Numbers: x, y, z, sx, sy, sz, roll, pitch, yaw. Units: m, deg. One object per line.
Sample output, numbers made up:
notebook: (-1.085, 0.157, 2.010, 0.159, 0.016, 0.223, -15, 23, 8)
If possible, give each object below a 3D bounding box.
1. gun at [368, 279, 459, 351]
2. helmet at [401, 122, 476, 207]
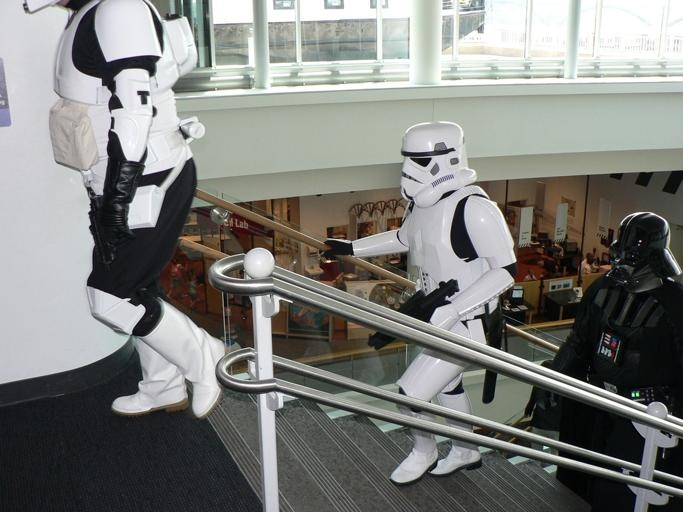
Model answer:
gun: (0.298, 0.271, 2.453, 0.509, 0.239, 0.137, -32, -6, 8)
helmet: (0.405, -0.452, 2.537, 0.403, 0.380, 0.322, 1, 6, -9)
